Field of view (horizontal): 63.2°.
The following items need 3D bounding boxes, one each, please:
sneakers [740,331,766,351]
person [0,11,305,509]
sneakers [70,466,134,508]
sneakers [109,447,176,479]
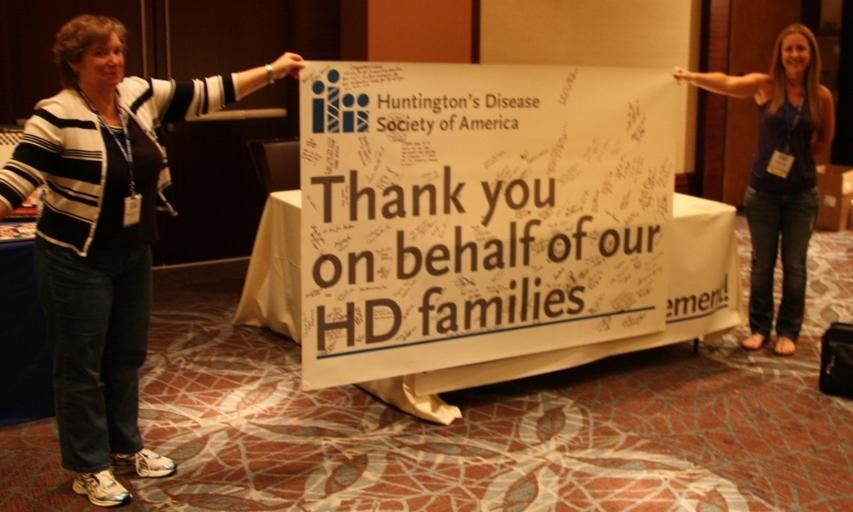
[{"bbox_3d":[2.338,0.618,4.976,0.088,0.104,0.243,8,-8,35],"label":"sneakers"},{"bbox_3d":[-1.495,0.022,3.471,0.979,2.293,0.557,-8,22,-19],"label":"person"},{"bbox_3d":[-1.637,1.152,3.545,0.328,0.145,0.142,8,9,20],"label":"sneakers"},{"bbox_3d":[-1.506,1.108,3.678,0.298,0.129,0.152,2,2,-5],"label":"sneakers"}]
